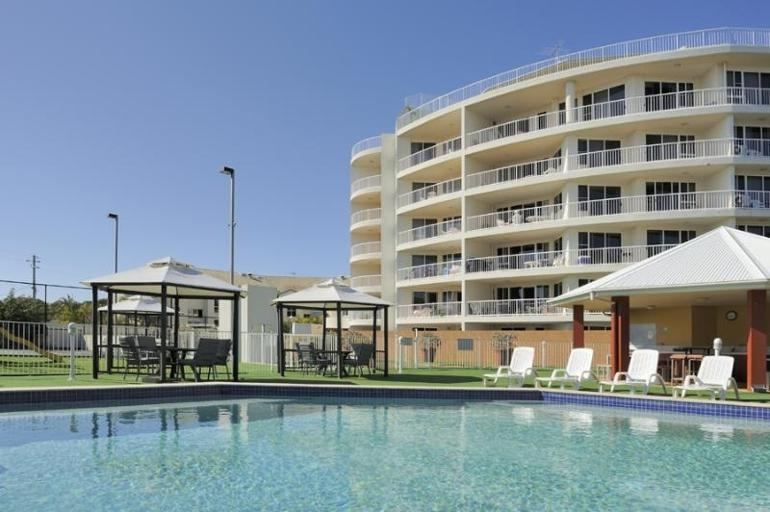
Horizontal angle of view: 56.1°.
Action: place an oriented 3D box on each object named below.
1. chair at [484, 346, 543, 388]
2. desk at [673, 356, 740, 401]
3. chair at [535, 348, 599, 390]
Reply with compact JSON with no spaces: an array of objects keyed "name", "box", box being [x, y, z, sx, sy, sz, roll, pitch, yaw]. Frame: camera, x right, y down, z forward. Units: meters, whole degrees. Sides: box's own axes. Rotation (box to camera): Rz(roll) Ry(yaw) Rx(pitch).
[{"name":"chair","box":[5.494,4.598,30.400,2.441,1.558,1.581,2,-7,-42]},{"name":"desk","box":[12.043,4.512,27.008,2.618,1.599,1.636,7,-12,-44]},{"name":"chair","box":[7.382,4.584,29.392,2.652,1.690,1.641,3,-8,-34]}]
